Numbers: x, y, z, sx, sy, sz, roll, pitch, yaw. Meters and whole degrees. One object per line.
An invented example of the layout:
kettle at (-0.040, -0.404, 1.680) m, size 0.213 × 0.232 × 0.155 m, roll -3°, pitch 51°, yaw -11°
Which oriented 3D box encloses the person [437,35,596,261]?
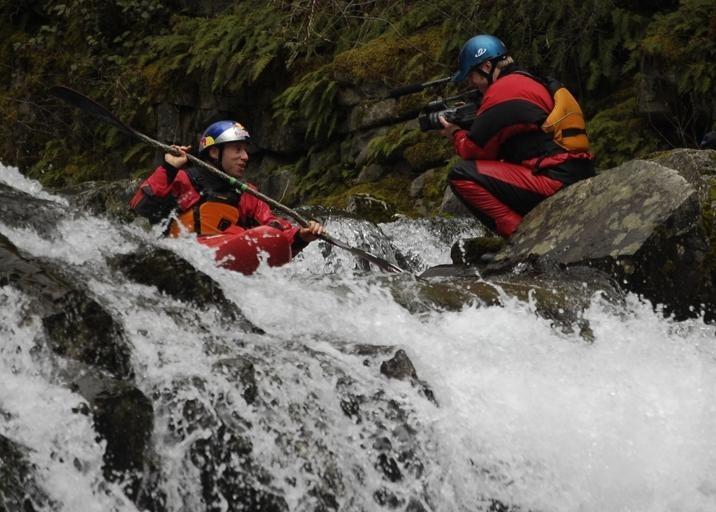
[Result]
person at (1.481, -1.160, 8.583) m, size 1.424 × 2.106 × 1.139 m, roll 1°, pitch 11°, yaw 32°

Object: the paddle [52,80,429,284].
paddle at (-1.141, -0.962, 10.141) m, size 4.628 × 0.541 × 0.287 m, roll 34°, pitch 70°, yaw -3°

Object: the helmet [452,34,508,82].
helmet at (1.175, -1.934, 8.457) m, size 0.492 × 0.318 × 0.376 m, roll -25°, pitch 1°, yaw 23°
